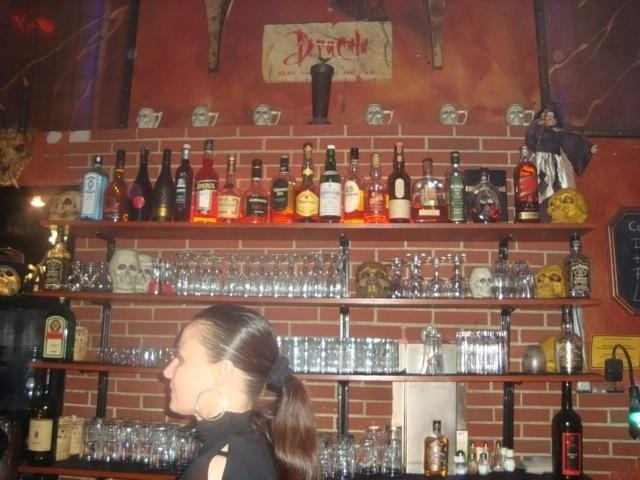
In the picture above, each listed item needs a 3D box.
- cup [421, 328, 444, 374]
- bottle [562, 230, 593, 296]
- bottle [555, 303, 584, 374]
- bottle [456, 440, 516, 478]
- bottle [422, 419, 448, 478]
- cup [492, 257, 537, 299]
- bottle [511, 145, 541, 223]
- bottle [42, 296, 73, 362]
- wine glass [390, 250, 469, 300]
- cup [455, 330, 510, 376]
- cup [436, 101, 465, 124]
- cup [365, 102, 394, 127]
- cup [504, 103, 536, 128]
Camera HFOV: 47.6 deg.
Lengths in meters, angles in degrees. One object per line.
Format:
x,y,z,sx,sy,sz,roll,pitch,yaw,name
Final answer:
0.639,0.648,4.141,0.128,0.243,0.211,2,-1,9,cup
1.481,0.153,4.209,0.137,0.375,0.263,1,-2,18,bottle
1.420,0.578,4.158,0.148,0.375,0.254,1,-2,22,bottle
0.943,1.271,4.176,0.290,0.139,0.184,0,-9,-6,bottle
0.656,1.207,4.152,0.122,0.314,0.091,2,-2,0,bottle
1.108,0.235,4.178,0.205,0.222,0.217,0,-8,0,cup
1.215,-0.318,4.260,0.106,0.472,0.109,-3,0,0,bottle
-1.604,0.578,4.376,0.153,0.418,0.127,14,-38,-33,bottle
0.645,0.217,4.337,0.563,0.344,0.213,-1,-4,5,wine glass
0.909,0.652,4.116,0.230,0.193,0.242,0,-3,0,cup
0.836,-0.810,4.661,0.166,0.129,0.119,1,-3,6,cup
0.371,-0.801,4.659,0.190,0.145,0.124,1,-1,3,cup
1.263,-0.791,4.625,0.190,0.151,0.123,2,-1,13,cup
